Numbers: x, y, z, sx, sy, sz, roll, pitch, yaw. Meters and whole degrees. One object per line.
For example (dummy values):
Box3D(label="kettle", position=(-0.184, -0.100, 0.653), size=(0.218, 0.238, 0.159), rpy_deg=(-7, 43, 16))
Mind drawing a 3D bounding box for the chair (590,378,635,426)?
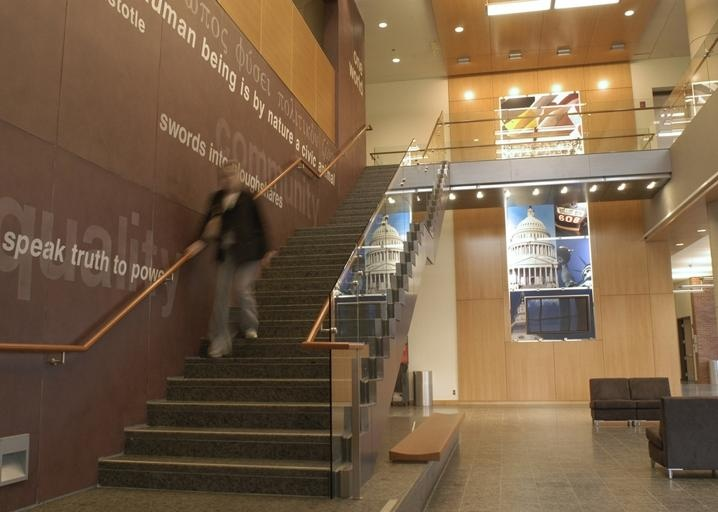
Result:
Box3D(label="chair", position=(4.886, 2.803, 10.580), size=(0.748, 0.885, 0.798), rpy_deg=(-1, -19, 10))
